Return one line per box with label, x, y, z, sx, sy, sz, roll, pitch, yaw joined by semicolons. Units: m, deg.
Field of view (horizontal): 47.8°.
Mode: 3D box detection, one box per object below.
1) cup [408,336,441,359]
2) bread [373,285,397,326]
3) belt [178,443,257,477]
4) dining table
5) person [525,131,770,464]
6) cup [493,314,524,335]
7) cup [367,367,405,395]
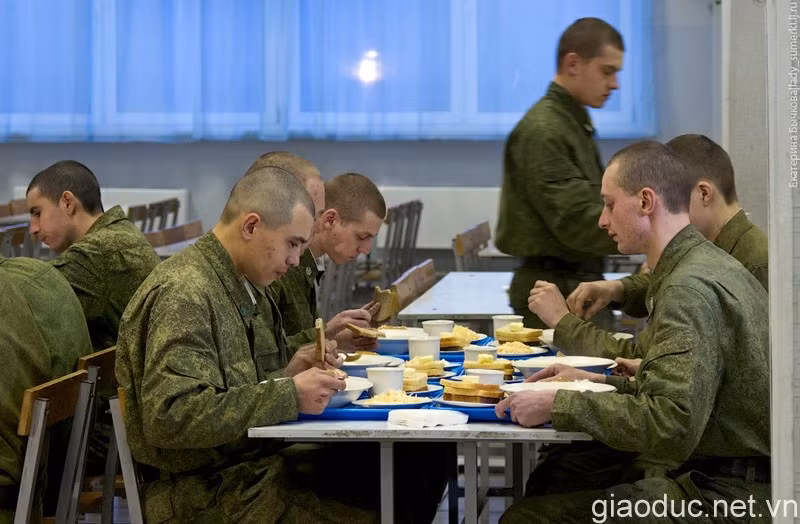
cup;0.083;0.299;3.178;0.083;0.091;0.085;0;5;0
bread;-0.052;0.171;3.457;0.128;0.131;0.033;1;1;35
belt;-0.537;0.610;2.775;0.117;0.030;0.123;-17;7;19
dining table;0.005;0.586;3.812;0.945;1.213;1.285;-1;7;2
person;0.832;0.248;2.981;0.755;1.237;0.907;-2;12;-4
cup;0.429;0.251;3.652;0.090;0.068;0.083;0;3;0
cup;-0.045;0.368;2.834;0.088;0.068;0.084;0;-1;0
